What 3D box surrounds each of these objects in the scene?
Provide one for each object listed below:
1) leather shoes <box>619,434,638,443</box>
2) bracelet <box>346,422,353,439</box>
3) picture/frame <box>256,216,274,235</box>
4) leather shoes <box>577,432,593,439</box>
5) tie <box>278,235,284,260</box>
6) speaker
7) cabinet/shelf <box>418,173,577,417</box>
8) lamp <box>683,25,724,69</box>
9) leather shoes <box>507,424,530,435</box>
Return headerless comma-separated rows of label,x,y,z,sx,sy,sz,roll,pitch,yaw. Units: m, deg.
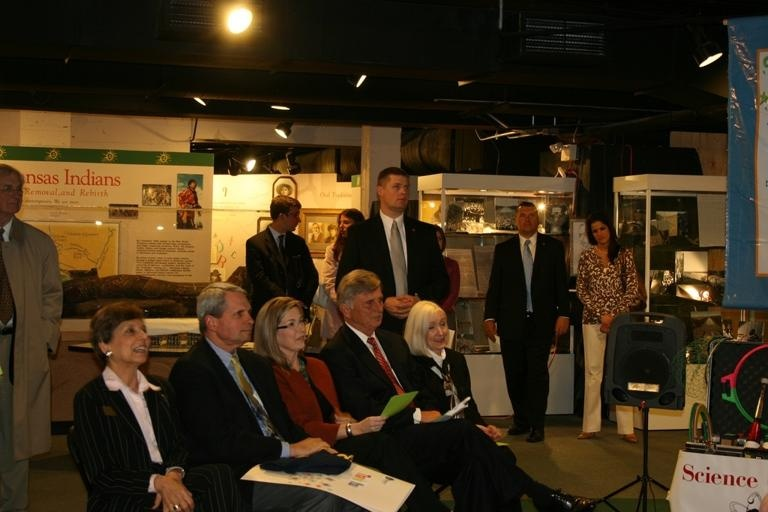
leather shoes,2.613,1.942,7.272,0.069,0.079,0.198,-1,-4,-25
bracelet,-0.226,1.125,4.377,0.061,0.077,0.029,0,-17,-5
picture/frame,-1.529,-0.396,8.456,0.065,0.252,0.272,9,-5,-42
leather shoes,2.156,1.919,7.313,0.192,0.074,0.068,3,-2,-8
tie,-1.118,-0.105,7.355,0.062,0.217,0.052,1,-15,-8
speaker,2.038,0.808,5.309,0.575,0.702,0.278,1,2,18
cabinet/shelf,1.384,0.281,8.765,1.627,2.538,0.942,-2,9,-11
lamp,3.043,-2.090,6.497,0.237,0.465,0.279,-21,-4,11
leather shoes,1.466,1.905,7.481,0.266,0.112,0.091,4,-4,-19
